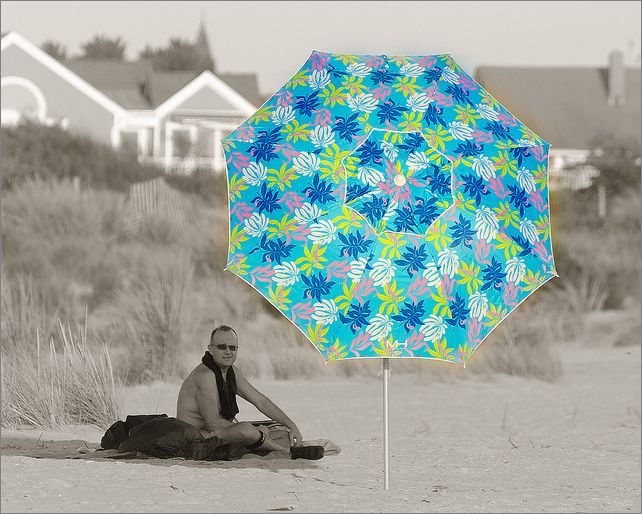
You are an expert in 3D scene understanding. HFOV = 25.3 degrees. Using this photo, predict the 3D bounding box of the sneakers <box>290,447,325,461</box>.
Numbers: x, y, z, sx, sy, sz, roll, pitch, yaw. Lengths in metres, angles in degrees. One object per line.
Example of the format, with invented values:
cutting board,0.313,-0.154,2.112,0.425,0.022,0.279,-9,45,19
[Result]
sneakers,-0.139,2.099,15.552,0.380,0.145,0.156,0,9,5

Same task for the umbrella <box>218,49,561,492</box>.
umbrella,0.733,0.196,15.862,3.791,4.843,3.857,-7,28,-16

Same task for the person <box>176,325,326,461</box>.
person,-0.859,1.464,15.553,1.630,1.562,1.151,-2,8,18
